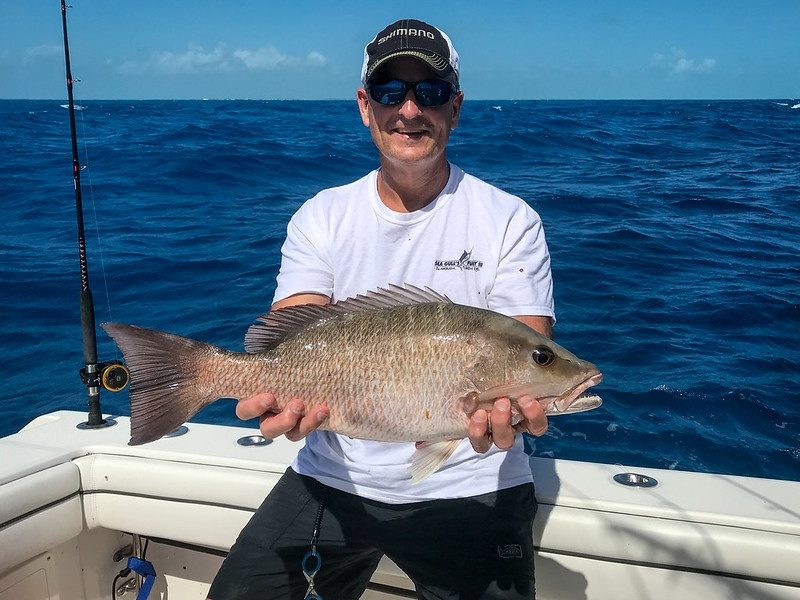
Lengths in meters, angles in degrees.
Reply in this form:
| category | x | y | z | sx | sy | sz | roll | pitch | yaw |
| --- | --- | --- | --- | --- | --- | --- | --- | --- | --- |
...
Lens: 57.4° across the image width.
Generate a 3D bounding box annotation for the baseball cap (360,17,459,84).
| category | x | y | z | sx | sy | sz | roll | pitch | yaw |
| --- | --- | --- | --- | --- | --- | --- | --- | --- | --- |
| baseball cap | 0.057 | -1.402 | 4.122 | 0.566 | 0.261 | 0.622 | -1 | 11 | 2 |
